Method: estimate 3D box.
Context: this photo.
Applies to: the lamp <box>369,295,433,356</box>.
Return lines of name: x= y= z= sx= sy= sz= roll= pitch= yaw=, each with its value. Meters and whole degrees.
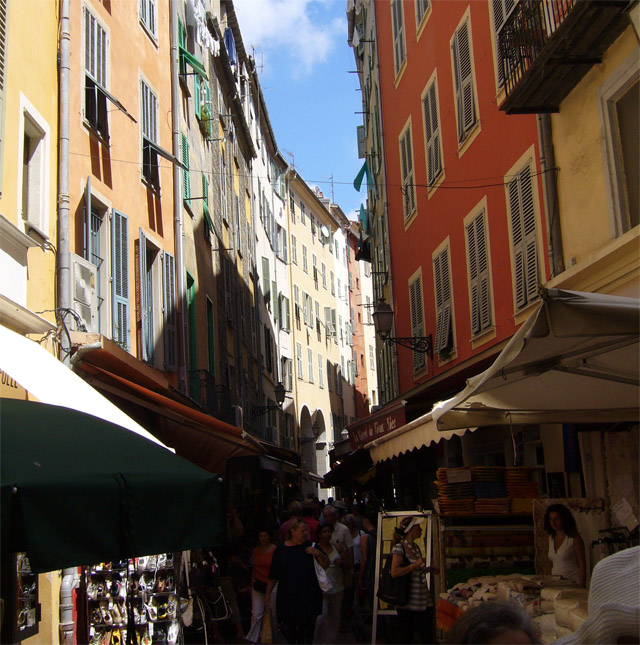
lamp: x=1.638 y=0.095 z=18.476 sx=1.104 sy=0.536 sz=1.639 roll=-1 pitch=-60 yaw=12

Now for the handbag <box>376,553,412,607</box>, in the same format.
handbag: x=0.765 y=2.699 z=9.708 sx=0.377 sy=0.520 sz=0.279 roll=-12 pitch=-21 yaw=21
